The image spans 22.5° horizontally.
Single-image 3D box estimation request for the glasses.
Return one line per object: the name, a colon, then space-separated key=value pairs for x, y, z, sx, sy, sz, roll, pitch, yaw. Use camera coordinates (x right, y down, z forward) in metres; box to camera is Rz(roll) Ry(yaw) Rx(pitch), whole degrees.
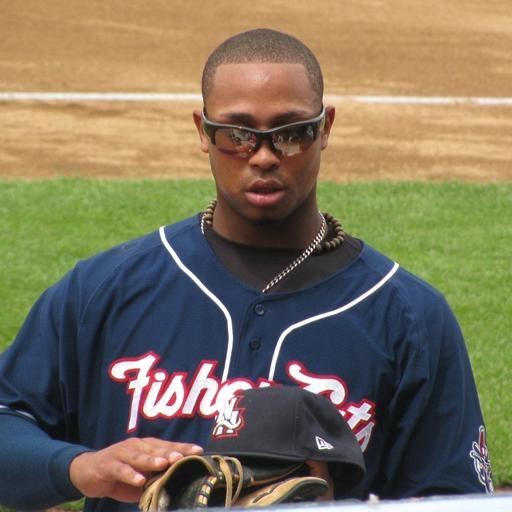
glasses: x=0.040 y=-0.611 z=6.580 sx=0.601 sy=0.207 sz=0.165 roll=1 pitch=14 yaw=-2
